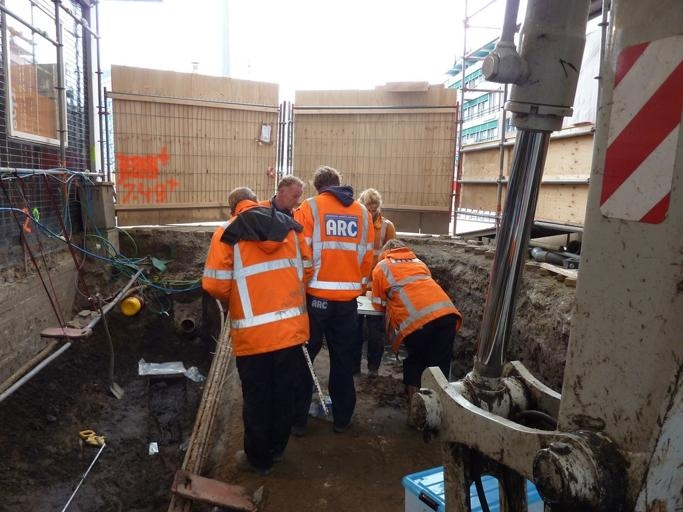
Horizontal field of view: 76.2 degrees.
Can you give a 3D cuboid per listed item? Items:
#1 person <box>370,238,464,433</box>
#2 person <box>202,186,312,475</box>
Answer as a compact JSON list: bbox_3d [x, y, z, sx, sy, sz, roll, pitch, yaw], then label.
[{"bbox_3d":[0.769,0.764,4.758,0.986,1.753,0.544,8,9,17],"label":"person"},{"bbox_3d":[-0.764,0.822,3.943,0.896,2.500,0.419,3,8,-13],"label":"person"}]
